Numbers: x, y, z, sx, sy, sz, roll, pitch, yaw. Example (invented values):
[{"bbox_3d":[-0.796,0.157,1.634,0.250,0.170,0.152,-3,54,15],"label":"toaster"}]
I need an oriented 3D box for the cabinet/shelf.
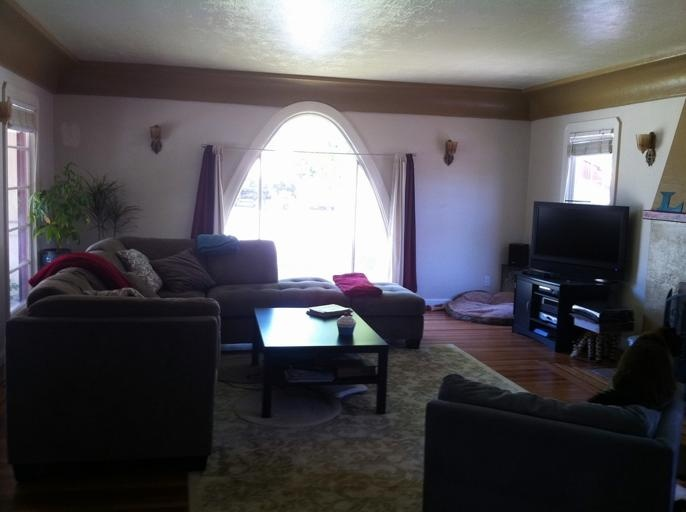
[{"bbox_3d":[2.484,0.561,5.918,0.770,0.941,1.300,2,4,-4],"label":"cabinet/shelf"}]

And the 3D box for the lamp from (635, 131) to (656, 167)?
[{"bbox_3d":[3.192,-1.121,5.478,0.128,0.361,0.183,-5,12,-29],"label":"lamp"}]

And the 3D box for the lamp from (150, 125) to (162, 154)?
[{"bbox_3d":[-2.328,-1.459,6.541,0.138,0.339,0.080,-3,11,-21],"label":"lamp"}]

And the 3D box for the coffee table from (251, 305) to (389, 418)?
[{"bbox_3d":[-0.176,0.656,4.039,0.713,0.391,1.103,-1,11,-14],"label":"coffee table"}]

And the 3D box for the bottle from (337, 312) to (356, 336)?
[{"bbox_3d":[0.010,0.555,4.084,0.145,0.163,0.146,1,-5,-9],"label":"bottle"}]

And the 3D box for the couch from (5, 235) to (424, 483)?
[{"bbox_3d":[-0.798,0.669,3.585,2.438,0.850,2.167,-3,10,-19],"label":"couch"}]

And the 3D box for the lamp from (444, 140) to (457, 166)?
[{"bbox_3d":[1.514,-1.439,7.247,0.214,0.359,0.106,-3,12,-25],"label":"lamp"}]

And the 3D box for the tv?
[{"bbox_3d":[2.707,-0.158,5.882,0.217,0.664,0.932,-4,9,-34],"label":"tv"}]

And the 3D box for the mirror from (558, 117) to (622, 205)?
[{"bbox_3d":[3.007,-1.144,6.287,0.145,1.299,1.150,-2,6,-19],"label":"mirror"}]
